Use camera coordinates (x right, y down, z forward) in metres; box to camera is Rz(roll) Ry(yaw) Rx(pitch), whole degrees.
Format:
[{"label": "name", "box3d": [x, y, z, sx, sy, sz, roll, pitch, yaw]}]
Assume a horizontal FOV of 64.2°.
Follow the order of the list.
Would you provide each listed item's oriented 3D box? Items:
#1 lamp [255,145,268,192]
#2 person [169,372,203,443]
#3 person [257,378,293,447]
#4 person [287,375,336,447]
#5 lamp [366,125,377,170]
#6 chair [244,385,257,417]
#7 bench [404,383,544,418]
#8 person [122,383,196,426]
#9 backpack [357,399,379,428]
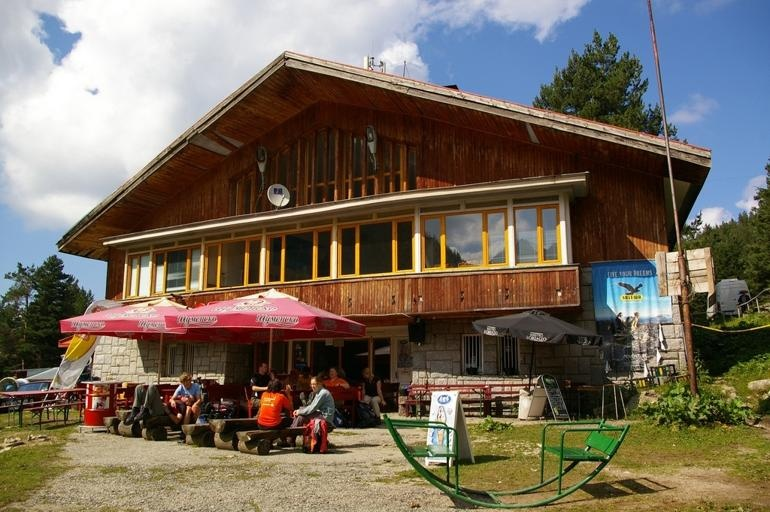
[{"label": "lamp", "box3d": [-5.454, -3.933, 27.799, 0.590, 2.431, 0.589, 1, 5, -27]}, {"label": "person", "box3d": [-5.513, 4.268, 17.022, 1.086, 2.092, 1.204, -6, -32, -13]}, {"label": "person", "box3d": [-2.826, 3.749, 15.633, 0.978, 1.153, 0.953, 8, -5, -43]}, {"label": "person", "box3d": [-1.786, 3.959, 15.479, 0.976, 1.843, 0.720, -9, -16, 27]}, {"label": "lamp", "box3d": [-0.557, -4.488, 25.544, 0.438, 1.795, 0.696, 0, -15, -2]}, {"label": "chair", "box3d": [-3.852, 4.179, 17.759, 0.380, 0.860, 1.131, 2, -15, -13]}, {"label": "bench", "box3d": [3.024, 5.102, 21.709, 4.333, 1.226, 0.798, -5, -1, 24]}, {"label": "person", "box3d": [-6.097, 3.966, 17.210, 1.003, 1.062, 2.435, 5, 0, 30]}, {"label": "backpack", "box3d": [-0.559, 4.992, 19.381, 0.628, 0.788, 0.262, 9, -18, -34]}]
